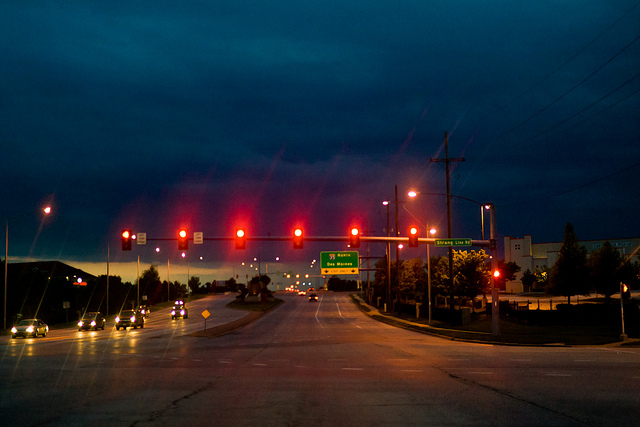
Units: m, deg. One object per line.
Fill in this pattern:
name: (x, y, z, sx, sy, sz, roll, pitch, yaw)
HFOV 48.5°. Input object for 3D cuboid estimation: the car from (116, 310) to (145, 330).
car: (-19.063, 10.818, 71.878, 1.541, 1.315, 2.948, 1, -3, 3)

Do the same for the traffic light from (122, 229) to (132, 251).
traffic light: (-13.244, 1.814, 48.749, 0.584, 1.225, 0.593, 2, -12, -9)

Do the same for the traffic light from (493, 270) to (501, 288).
traffic light: (13.374, 4.909, 53.820, 0.389, 1.411, 1.160, -4, -14, 21)

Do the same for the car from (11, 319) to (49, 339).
car: (-24.860, 9.906, 60.941, 1.979, 1.944, 3.208, -2, -14, 9)

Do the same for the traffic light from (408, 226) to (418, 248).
traffic light: (6.788, 1.685, 51.661, 0.480, 1.341, 1.013, -5, -14, 25)

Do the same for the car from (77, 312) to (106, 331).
car: (-22.697, 10.768, 70.499, 1.318, 1.369, 2.750, -1, -18, -4)

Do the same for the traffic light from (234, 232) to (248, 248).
traffic light: (-4.870, 1.603, 43.511, 0.958, 1.055, 1.854, -1, 1, -3)

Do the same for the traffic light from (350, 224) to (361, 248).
traffic light: (2.434, 1.748, 49.476, 0.661, 1.431, 1.465, 0, -13, 2)

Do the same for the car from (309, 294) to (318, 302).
car: (-1.220, 15.248, 127.732, 1.242, 1.089, 2.128, 0, -13, -1)

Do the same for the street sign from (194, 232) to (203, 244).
street sign: (-7.421, 1.492, 43.373, 0.703, 0.850, 0.189, 2, 1, -2)

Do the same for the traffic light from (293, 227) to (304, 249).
traffic light: (-1.528, 1.724, 49.818, 0.645, 1.256, 0.573, -5, -13, 24)

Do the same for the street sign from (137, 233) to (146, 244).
street sign: (-11.490, 1.562, 45.690, 0.739, 0.859, 0.084, 0, 1, 11)

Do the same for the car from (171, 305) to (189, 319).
car: (-17.550, 12.486, 89.259, 1.351, 1.073, 2.217, 0, -4, -2)
